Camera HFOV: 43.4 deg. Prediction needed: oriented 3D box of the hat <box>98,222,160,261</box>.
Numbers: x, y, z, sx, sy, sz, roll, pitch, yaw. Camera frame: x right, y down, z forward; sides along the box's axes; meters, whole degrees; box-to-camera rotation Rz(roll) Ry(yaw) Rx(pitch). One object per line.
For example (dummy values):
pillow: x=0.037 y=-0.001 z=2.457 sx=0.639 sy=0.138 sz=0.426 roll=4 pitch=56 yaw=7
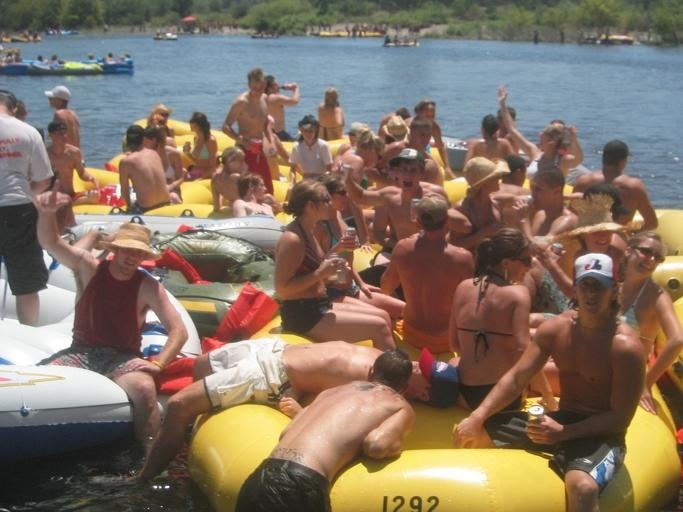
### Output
hat: x=-1.809 y=-0.131 z=7.445 sx=0.485 sy=0.255 sz=0.528 roll=6 pitch=-8 yaw=-20

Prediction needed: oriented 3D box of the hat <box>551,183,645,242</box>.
hat: x=2.339 y=-0.411 z=7.901 sx=0.507 sy=0.282 sz=0.682 roll=-8 pitch=-3 yaw=0

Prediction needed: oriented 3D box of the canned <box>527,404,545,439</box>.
canned: x=1.455 y=1.213 z=6.408 sx=0.119 sy=0.124 sz=0.118 roll=6 pitch=28 yaw=22

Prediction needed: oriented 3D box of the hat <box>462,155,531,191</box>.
hat: x=1.433 y=-0.803 z=8.385 sx=0.351 sy=0.162 sz=0.404 roll=-49 pitch=14 yaw=-20

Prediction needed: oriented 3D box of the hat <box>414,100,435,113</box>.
hat: x=1.138 y=-2.056 z=11.760 sx=0.246 sy=0.177 sz=0.217 roll=8 pitch=-23 yaw=8

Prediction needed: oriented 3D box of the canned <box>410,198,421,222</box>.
canned: x=0.719 y=-0.459 z=8.547 sx=0.127 sy=0.235 sz=0.177 roll=6 pitch=20 yaw=6

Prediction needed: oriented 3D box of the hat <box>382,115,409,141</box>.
hat: x=0.738 y=-1.785 z=11.571 sx=0.364 sy=0.427 sz=0.169 roll=-5 pitch=-25 yaw=7

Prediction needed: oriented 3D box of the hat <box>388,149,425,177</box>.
hat: x=0.692 y=-0.938 z=8.733 sx=0.272 sy=0.222 sz=0.440 roll=-1 pitch=4 yaw=14

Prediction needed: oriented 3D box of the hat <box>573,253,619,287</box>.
hat: x=1.895 y=0.116 z=6.432 sx=0.339 sy=0.236 sz=0.495 roll=0 pitch=-7 yaw=6

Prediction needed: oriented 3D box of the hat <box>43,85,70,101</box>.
hat: x=-3.972 y=-2.260 z=11.984 sx=0.293 sy=0.195 sz=0.449 roll=-2 pitch=13 yaw=-14

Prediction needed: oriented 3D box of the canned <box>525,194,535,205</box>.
canned: x=1.874 y=-0.546 z=8.545 sx=0.099 sy=0.091 sz=0.099 roll=4 pitch=25 yaw=13

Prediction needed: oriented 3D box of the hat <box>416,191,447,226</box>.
hat: x=0.812 y=-0.403 z=7.489 sx=0.213 sy=0.302 sz=0.170 roll=2 pitch=-29 yaw=20
